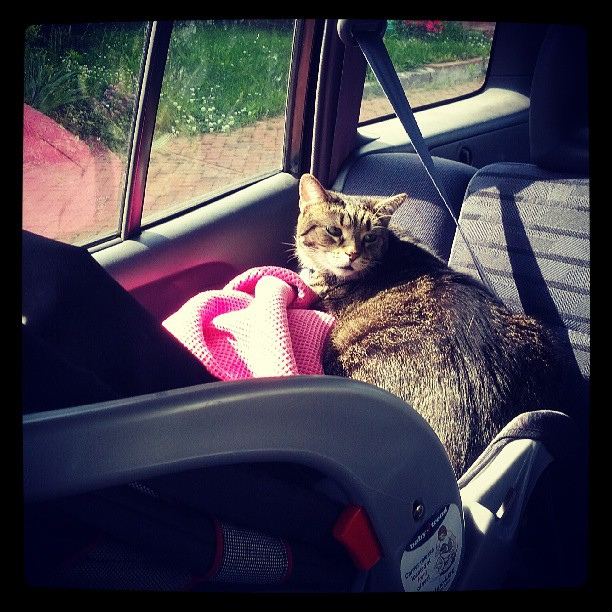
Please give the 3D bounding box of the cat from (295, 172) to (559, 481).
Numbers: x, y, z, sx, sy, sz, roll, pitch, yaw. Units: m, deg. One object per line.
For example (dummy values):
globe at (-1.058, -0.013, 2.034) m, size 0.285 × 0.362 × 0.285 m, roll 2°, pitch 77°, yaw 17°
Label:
cat at (0.158, 0.017, 1.106) m, size 0.249 × 0.338 × 0.593 m, roll -22°, pitch 37°, yaw -38°

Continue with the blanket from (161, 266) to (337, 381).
blanket at (-0.095, 0.038, 1.125) m, size 0.335 × 0.106 × 0.242 m, roll -10°, pitch 32°, yaw -19°
